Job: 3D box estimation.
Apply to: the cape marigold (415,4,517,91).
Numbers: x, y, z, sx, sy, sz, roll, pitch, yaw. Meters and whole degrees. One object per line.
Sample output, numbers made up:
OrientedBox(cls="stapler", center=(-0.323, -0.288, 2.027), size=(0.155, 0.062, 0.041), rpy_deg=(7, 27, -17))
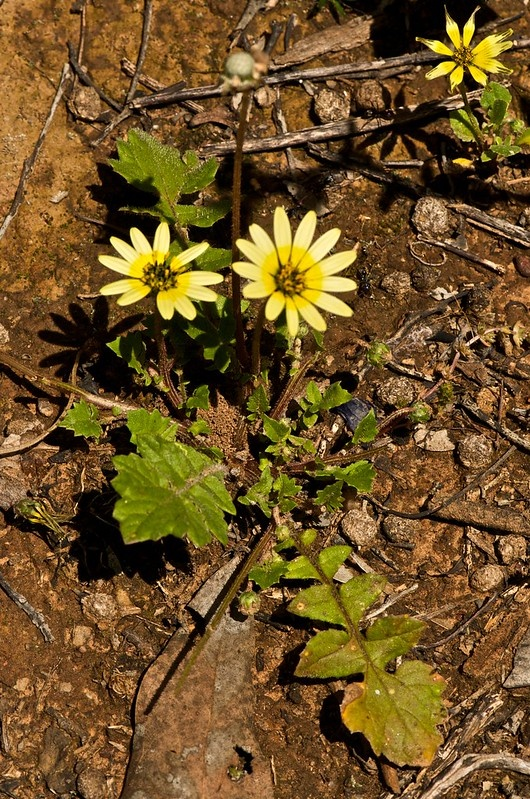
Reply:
OrientedBox(cls="cape marigold", center=(1.258, -2.191, 4.929), size=(0.609, 0.171, 0.581), rpy_deg=(17, -10, -30))

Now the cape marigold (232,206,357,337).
OrientedBox(cls="cape marigold", center=(0.151, -0.582, 3.818), size=(0.607, 0.596, 0.649), rpy_deg=(-2, 40, -2))

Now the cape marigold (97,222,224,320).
OrientedBox(cls="cape marigold", center=(-0.534, -0.654, 3.953), size=(0.648, 0.579, 0.134), rpy_deg=(1, 65, 12))
